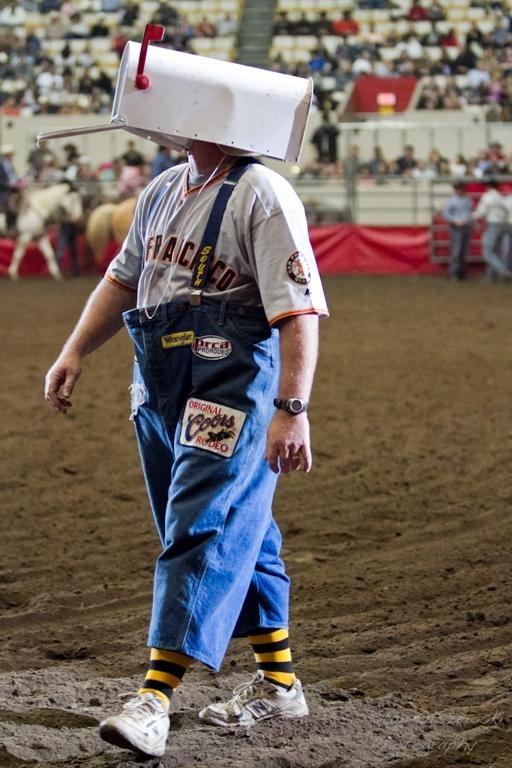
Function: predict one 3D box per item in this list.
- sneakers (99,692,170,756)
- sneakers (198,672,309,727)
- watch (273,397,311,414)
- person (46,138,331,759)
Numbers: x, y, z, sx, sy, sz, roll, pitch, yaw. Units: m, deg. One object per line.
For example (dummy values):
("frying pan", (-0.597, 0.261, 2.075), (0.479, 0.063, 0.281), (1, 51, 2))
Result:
("sneakers", (-0.261, 0.780, 2.546), (0.079, 0.105, 0.223), (30, -4, 21))
("sneakers", (0.010, 0.830, 2.978), (0.327, 0.136, 0.112), (-1, -1, -10))
("watch", (0.096, 0.058, 2.623), (0.066, 0.037, 0.060), (1, -4, -17))
("person", (-0.149, 0.175, 2.860), (0.625, 1.559, 0.801), (-7, 13, -19))
